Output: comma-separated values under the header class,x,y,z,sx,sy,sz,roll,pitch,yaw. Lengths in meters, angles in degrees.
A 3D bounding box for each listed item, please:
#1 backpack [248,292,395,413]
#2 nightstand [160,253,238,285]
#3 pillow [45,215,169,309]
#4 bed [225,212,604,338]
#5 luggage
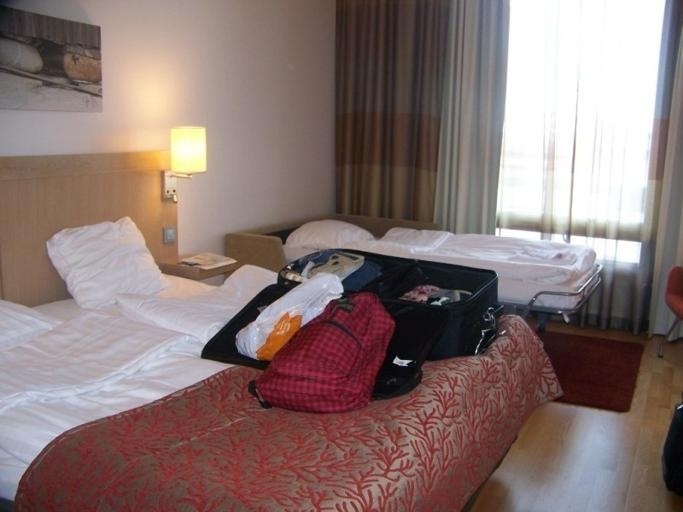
class,x,y,z,sx,sy,sz,roll,pitch,yaw
backpack,-0.034,0.363,2.007,0.394,0.319,0.532,6,15,25
nightstand,-0.996,0.062,3.556,0.283,0.246,0.286,18,29,36
pillow,-1.368,0.042,2.996,0.332,0.413,0.537,13,20,43
bed,0.669,-0.069,4.169,2.323,0.671,1.364,10,24,23
luggage,0.389,0.259,2.433,0.813,0.209,0.811,8,22,27
